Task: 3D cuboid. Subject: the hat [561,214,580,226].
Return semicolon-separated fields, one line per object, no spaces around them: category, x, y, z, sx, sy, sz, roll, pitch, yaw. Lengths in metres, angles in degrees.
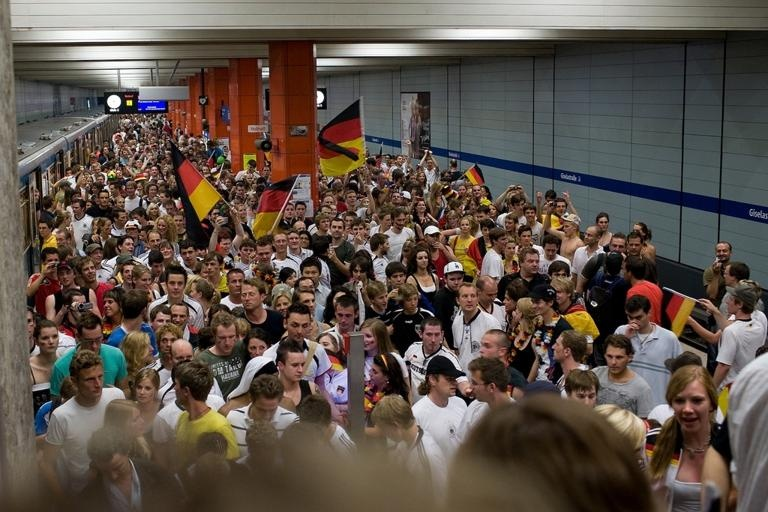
hat;3.906;-0.750;11.903;0.398;0.145;0.276;17;1;-25

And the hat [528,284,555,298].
hat;1.951;0.443;6.901;0.218;0.110;0.159;6;0;-11

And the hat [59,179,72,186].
hat;-9.800;-2.232;17.366;0.324;0.180;0.433;0;-2;-5

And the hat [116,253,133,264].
hat;-4.273;0.057;9.319;0.252;0.072;0.224;-9;5;-7

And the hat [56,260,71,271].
hat;-4.567;0.146;8.134;0.119;0.159;0.168;-5;13;-3

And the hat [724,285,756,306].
hat;4.410;0.506;7.048;0.345;0.179;0.247;9;15;29

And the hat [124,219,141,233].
hat;-4.921;-0.570;11.124;0.297;0.208;0.420;0;-7;-2
